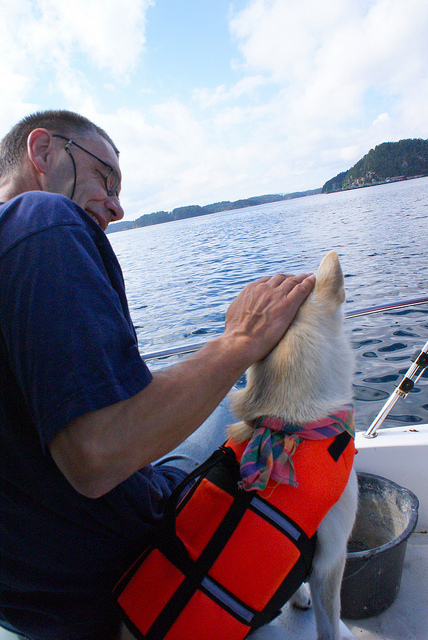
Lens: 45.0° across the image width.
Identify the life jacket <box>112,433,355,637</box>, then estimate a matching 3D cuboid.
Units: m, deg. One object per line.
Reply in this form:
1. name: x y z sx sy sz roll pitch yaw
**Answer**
1. life jacket: 0.105 0.534 1.290 0.595 0.196 0.310 -46 38 -21
